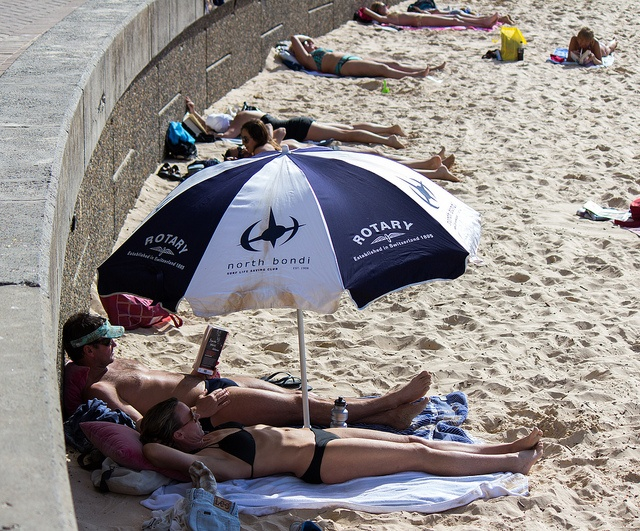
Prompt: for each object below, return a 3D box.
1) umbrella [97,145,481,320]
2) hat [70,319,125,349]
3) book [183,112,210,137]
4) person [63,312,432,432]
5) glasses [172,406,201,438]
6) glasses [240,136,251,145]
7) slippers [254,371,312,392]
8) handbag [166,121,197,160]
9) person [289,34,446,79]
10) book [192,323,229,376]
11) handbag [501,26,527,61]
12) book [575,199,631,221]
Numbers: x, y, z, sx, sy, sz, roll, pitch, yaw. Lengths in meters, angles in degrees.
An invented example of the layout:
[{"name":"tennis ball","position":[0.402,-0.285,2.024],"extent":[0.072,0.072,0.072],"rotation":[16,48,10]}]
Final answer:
[{"name":"umbrella","position":[-0.151,-0.190,6.716],"extent":[2.210,0.789,0.818],"rotation":[1,24,-1]},{"name":"hat","position":[-1.508,0.437,7.446],"extent":[0.268,0.071,0.178],"rotation":[-20,7,-14]},{"name":"book","position":[-1.405,-1.572,12.406],"extent":[0.261,0.067,0.254],"rotation":[37,28,-27]},{"name":"person","position":[-0.491,0.752,7.766],"extent":[2.389,0.784,0.958],"rotation":[0,3,1]},{"name":"glasses","position":[-0.851,0.970,7.130],"extent":[0.215,0.200,0.172],"rotation":[-10,14,-13]},{"name":"glasses","position":[-0.666,-1.164,10.263],"extent":[0.023,0.067,0.066],"rotation":[-9,5,-26]},{"name":"slippers","position":[-0.264,0.830,8.087],"extent":[0.318,0.078,0.156],"rotation":[6,11,40]},{"name":"handbag","position":[-1.518,-1.371,12.079],"extent":[0.430,0.196,0.545],"rotation":[-19,12,-6]},{"name":"person","position":[0.462,-2.802,14.982],"extent":[2.067,0.416,0.522],"rotation":[9,25,19]},{"name":"book","position":[-0.749,0.586,7.593],"extent":[0.246,0.333,0.091],"rotation":[18,3,-43]},{"name":"handbag","position":[2.892,-3.207,15.908],"extent":[0.481,0.499,0.404],"rotation":[-2,17,-15]},{"name":"book","position":[2.757,-0.522,10.775],"extent":[0.331,0.083,0.238],"rotation":[5,26,14]}]
